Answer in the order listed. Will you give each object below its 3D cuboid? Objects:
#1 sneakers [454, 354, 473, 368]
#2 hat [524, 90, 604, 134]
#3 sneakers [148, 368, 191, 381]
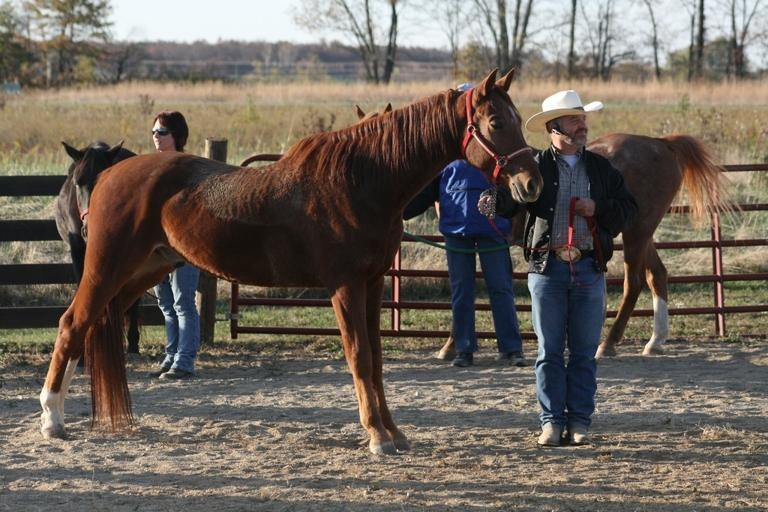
[{"bbox_3d":[1.203,1.550,24.766,0.287,0.225,0.145,1,1,-2],"label":"sneakers"},{"bbox_3d":[2.456,-2.044,22.800,0.682,0.278,0.726,-13,4,13],"label":"hat"},{"bbox_3d":[-3.186,1.731,24.374,0.582,0.257,0.228,6,-3,0],"label":"sneakers"}]
